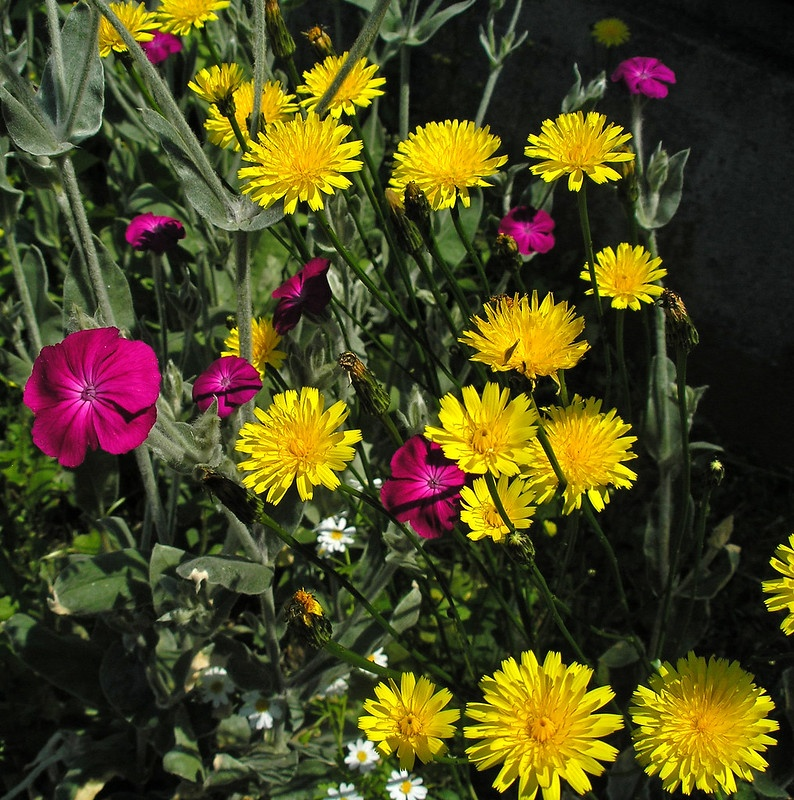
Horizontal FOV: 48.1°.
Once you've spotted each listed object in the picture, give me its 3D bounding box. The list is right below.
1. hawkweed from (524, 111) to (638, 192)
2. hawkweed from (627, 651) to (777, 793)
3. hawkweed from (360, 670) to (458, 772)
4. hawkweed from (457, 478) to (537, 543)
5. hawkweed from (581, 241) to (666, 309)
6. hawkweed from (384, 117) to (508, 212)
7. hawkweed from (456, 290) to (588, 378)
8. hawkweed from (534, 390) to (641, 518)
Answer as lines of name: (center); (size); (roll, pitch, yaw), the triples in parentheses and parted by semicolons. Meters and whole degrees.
hawkweed: (0.267, -0.332, 1.317); (0.144, 0.061, 0.155); (-8, 52, 2)
hawkweed: (0.408, 0.425, 1.183); (0.179, 0.090, 0.183); (-27, 71, 2)
hawkweed: (0.017, 0.405, 1.134); (0.142, 0.051, 0.130); (-11, 8, -34)
hawkweed: (0.139, 0.154, 1.183); (0.086, 0.035, 0.092); (-30, 63, 22)
hawkweed: (0.335, -0.187, 1.308); (0.101, 0.106, 0.049); (-2, 71, 4)
hawkweed: (0.084, -0.374, 1.326); (0.165, 0.081, 0.166); (-6, 10, -38)
hawkweed: (0.156, -0.084, 1.120); (0.145, 0.095, 0.108); (0, 34, -6)
hawkweed: (0.247, 0.094, 1.211); (0.134, 0.201, 0.147); (9, 34, 9)
